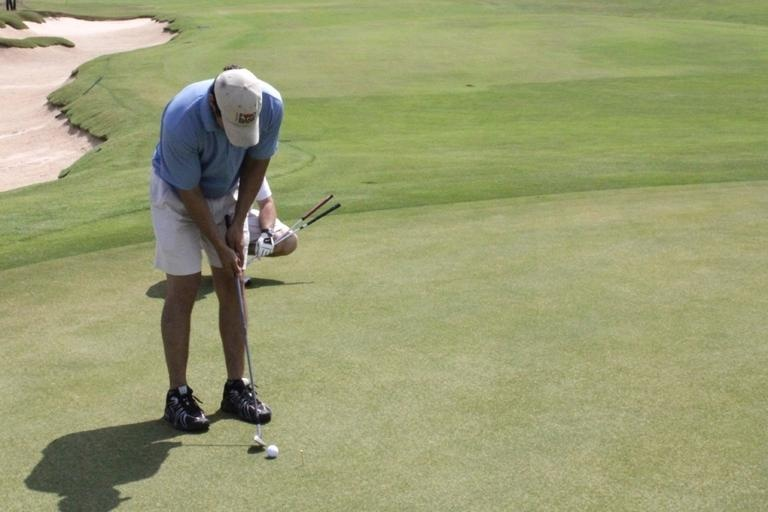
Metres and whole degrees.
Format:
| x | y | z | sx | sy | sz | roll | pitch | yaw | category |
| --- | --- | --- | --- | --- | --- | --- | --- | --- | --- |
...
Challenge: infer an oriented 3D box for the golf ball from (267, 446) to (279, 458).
| x | y | z | sx | sy | sz | roll | pitch | yaw | category |
| --- | --- | --- | --- | --- | --- | --- | --- | --- | --- |
| -0.972 | 1.690 | 9.370 | 0.108 | 0.099 | 0.103 | 1 | -26 | 0 | golf ball |

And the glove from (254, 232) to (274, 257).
| x | y | z | sx | sy | sz | roll | pitch | yaw | category |
| --- | --- | --- | --- | --- | --- | --- | --- | --- | --- |
| -1.214 | -0.114 | 10.915 | 0.189 | 0.234 | 0.256 | -1 | 8 | -9 | glove |

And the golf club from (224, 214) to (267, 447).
| x | y | z | sx | sy | sz | roll | pitch | yaw | category |
| --- | --- | --- | --- | --- | --- | --- | --- | --- | --- |
| -1.282 | 0.581 | 9.881 | 0.347 | 2.311 | 0.170 | -21 | -27 | 34 | golf club |

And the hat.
| x | y | z | sx | sy | sz | roll | pitch | yaw | category |
| --- | --- | --- | --- | --- | --- | --- | --- | --- | --- |
| -1.274 | -1.302 | 9.455 | 0.410 | 0.608 | 0.349 | -6 | 27 | -6 | hat |
